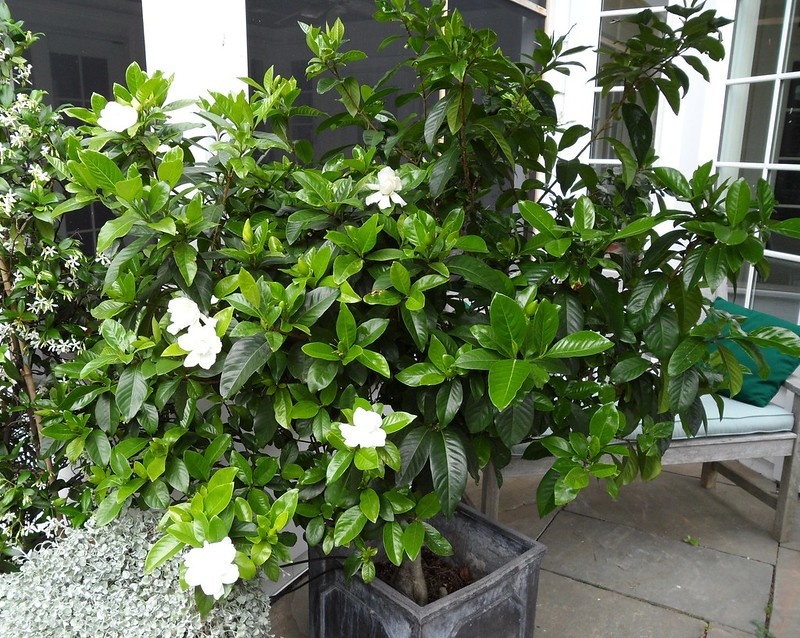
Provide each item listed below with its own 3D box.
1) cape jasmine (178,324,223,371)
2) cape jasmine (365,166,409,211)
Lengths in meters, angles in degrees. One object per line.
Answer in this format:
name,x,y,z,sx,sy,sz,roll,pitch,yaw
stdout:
cape jasmine,-0.412,0.057,1.216,0.078,0.117,0.086,-4,14,-24
cape jasmine,-0.036,-0.304,1.392,0.088,0.095,0.118,1,13,-5
